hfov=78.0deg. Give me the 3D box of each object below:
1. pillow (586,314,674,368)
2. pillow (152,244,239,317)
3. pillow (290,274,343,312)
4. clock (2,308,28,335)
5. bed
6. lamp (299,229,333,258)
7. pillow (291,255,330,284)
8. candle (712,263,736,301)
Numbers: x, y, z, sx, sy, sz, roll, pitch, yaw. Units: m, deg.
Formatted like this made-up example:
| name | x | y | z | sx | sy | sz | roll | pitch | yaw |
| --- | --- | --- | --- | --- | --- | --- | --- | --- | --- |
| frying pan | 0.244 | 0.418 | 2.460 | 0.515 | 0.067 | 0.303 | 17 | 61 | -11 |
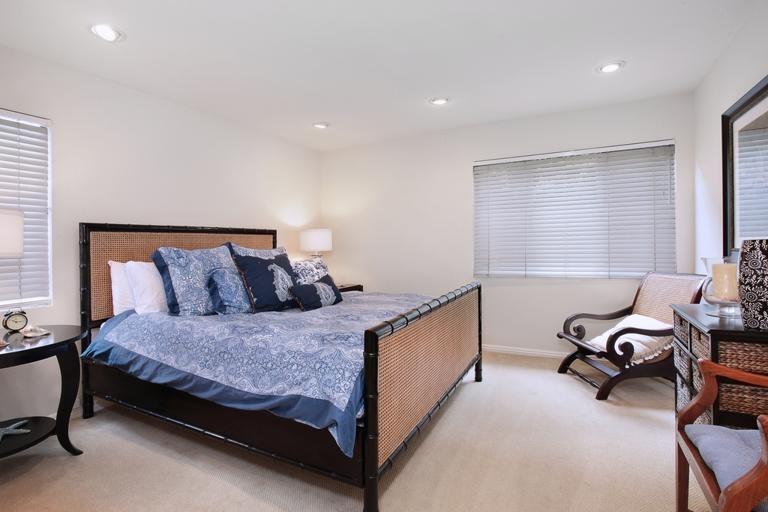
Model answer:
| name | x | y | z | sx | sy | sz | roll | pitch | yaw |
| --- | --- | --- | --- | --- | --- | --- | --- | --- | --- |
| pillow | 2.326 | 0.793 | 4.506 | 0.711 | 0.364 | 0.508 | -3 | 4 | -1 |
| pillow | -1.739 | 0.218 | 4.272 | 0.201 | 0.640 | 0.698 | -28 | -15 | 33 |
| pillow | -0.625 | 0.256 | 4.508 | 0.243 | 0.224 | 0.575 | 24 | 14 | 20 |
| clock | -2.837 | 0.493 | 3.613 | 0.051 | 0.163 | 0.169 | -3 | -5 | 35 |
| bed | -0.920 | 0.928 | 4.128 | 2.561 | 1.458 | 2.478 | -2 | -3 | 31 |
| lamp | -0.847 | -0.146 | 6.144 | 0.383 | 0.406 | 0.378 | -3 | -3 | 34 |
| pillow | -0.819 | 0.165 | 5.049 | 0.360 | 0.166 | 0.363 | 0 | 2 | 37 |
| candle | 2.386 | 0.184 | 3.309 | 0.140 | 0.257 | 0.074 | 0 | 6 | 34 |
